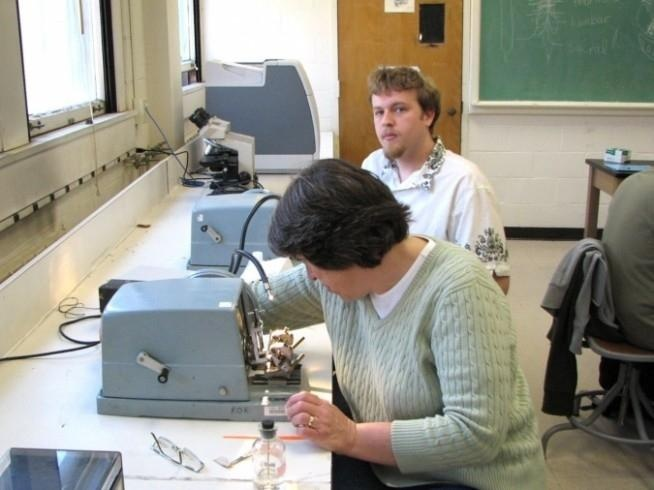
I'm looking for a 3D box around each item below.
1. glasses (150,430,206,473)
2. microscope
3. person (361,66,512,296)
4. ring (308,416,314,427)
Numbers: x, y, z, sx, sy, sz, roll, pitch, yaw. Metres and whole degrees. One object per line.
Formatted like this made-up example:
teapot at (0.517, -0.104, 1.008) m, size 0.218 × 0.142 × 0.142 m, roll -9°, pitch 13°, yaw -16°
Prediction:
glasses at (-0.398, 0.545, 1.503) m, size 0.189 × 0.032 × 0.053 m, roll 9°, pitch 23°, yaw 27°
microscope at (-0.595, -0.536, 3.424) m, size 0.324 × 0.537 × 0.559 m, roll 1°, pitch 17°, yaw -7°
person at (0.388, -0.054, 2.402) m, size 0.346 × 1.310 × 0.709 m, roll -7°, pitch 5°, yaw -40°
ring at (-0.041, 0.444, 1.440) m, size 0.014 × 0.021 × 0.021 m, roll -3°, pitch -9°, yaw -1°
